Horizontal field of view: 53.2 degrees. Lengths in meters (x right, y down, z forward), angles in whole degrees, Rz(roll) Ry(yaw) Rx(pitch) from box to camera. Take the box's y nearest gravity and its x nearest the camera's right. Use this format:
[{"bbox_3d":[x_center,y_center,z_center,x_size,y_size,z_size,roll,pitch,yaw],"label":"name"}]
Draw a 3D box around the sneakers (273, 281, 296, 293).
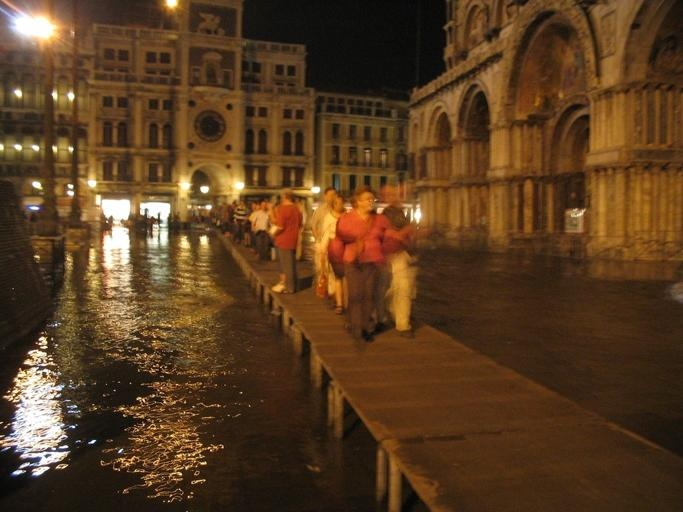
[{"bbox_3d":[-1.134,0.617,13.585,0.444,0.189,0.190,4,2,-1],"label":"sneakers"}]
